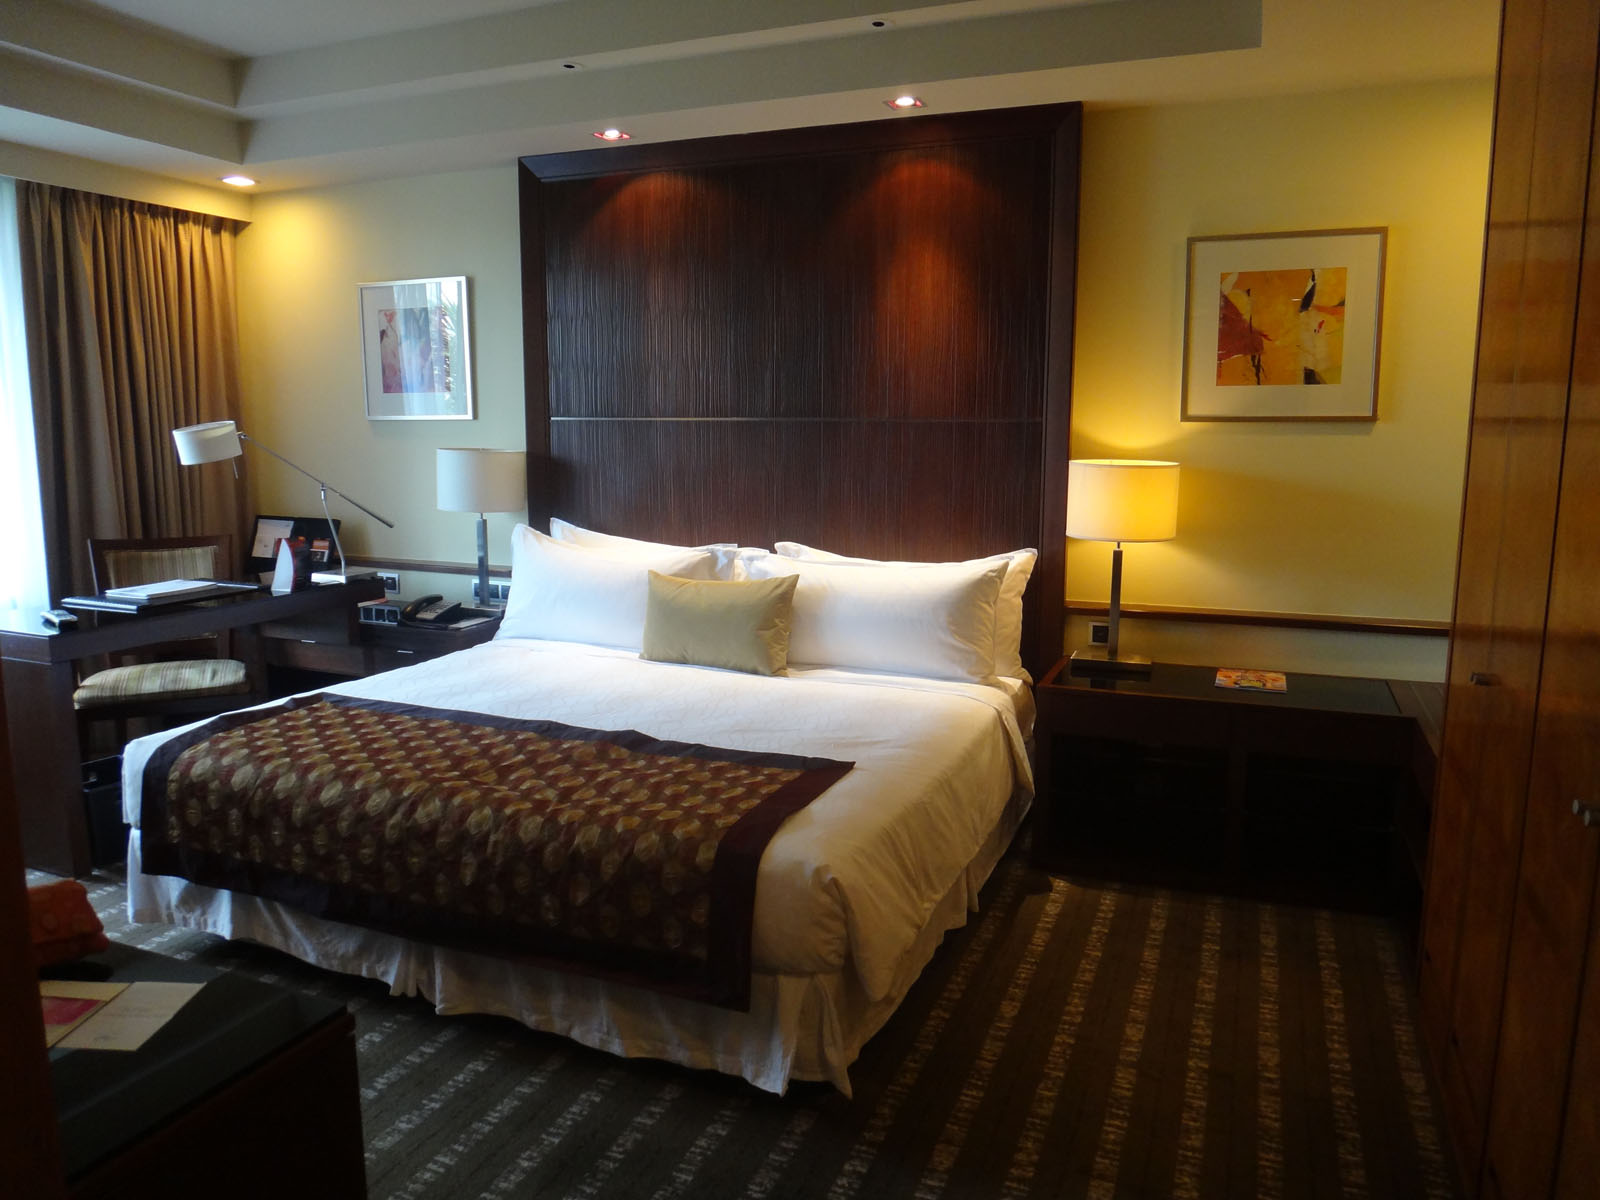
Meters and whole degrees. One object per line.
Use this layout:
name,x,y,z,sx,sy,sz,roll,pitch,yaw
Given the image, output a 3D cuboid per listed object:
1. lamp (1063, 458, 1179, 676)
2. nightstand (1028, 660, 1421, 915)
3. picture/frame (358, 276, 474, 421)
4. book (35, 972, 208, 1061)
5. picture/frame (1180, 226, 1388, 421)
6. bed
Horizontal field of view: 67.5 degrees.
lamp,1.194,-0.142,4.495,0.392,0.768,0.433,1,10,13
nightstand,1.557,0.635,4.366,1.354,0.703,0.750,5,26,17
picture/frame,-1.803,-1.214,5.680,0.619,0.614,0.062,7,18,25
book,-1.186,0.710,2.065,0.215,0.012,0.148,5,11,2
picture/frame,1.795,-1.029,4.372,0.674,0.724,0.025,3,9,24
bed,-0.478,0.520,4.148,2.280,1.190,2.036,4,11,24
